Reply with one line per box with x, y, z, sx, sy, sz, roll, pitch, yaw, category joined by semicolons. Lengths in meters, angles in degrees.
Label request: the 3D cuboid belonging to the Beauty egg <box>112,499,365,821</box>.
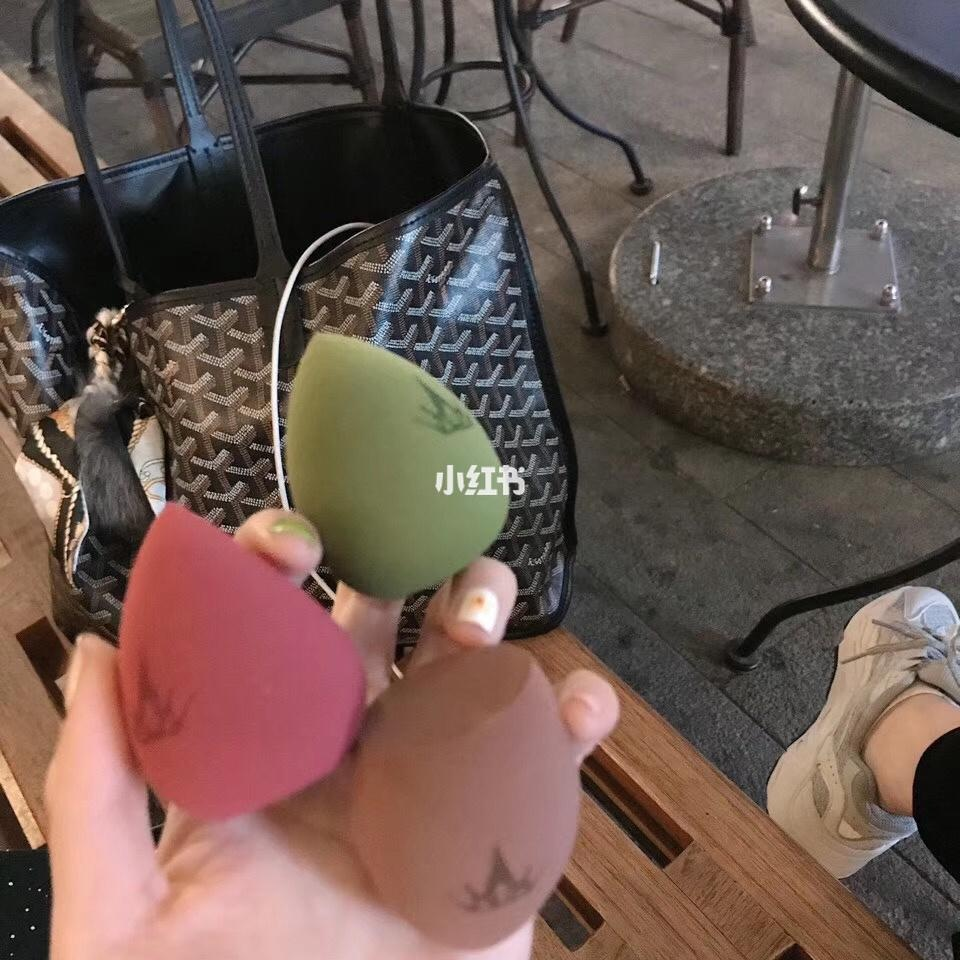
-0.095;0.066;0.377;0.088;0.111;0.048;-28;15;-8;Beauty egg

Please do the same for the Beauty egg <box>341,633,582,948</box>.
-0.008;0.123;0.366;0.093;0.057;0.116;-8;54;-26;Beauty egg

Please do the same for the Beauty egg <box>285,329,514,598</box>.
-0.042;-0.036;0.376;0.071;0.028;0.091;-18;26;-23;Beauty egg
